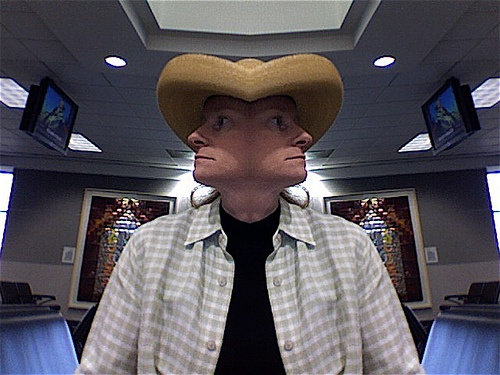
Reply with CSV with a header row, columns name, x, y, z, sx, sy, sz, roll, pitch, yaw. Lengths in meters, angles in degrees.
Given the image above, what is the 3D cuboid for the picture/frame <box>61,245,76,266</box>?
name,x,y,z,sx,sy,sz,roll,pitch,yaw
picture/frame,-3.052,1.127,6.546,0.225,0.271,0.070,0,-20,3

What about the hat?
name,x,y,z,sx,sy,sz,roll,pitch,yaw
hat,0.009,-0.479,1.902,0.637,0.202,0.540,10,-34,-1

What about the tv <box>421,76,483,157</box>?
name,x,y,z,sx,sy,sz,roll,pitch,yaw
tv,2.194,-0.821,4.306,0.236,0.714,0.603,1,-27,-7

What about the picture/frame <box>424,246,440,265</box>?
name,x,y,z,sx,sy,sz,roll,pitch,yaw
picture/frame,2.183,0.822,4.693,0.207,0.302,0.030,5,-29,6

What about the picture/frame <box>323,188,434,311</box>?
name,x,y,z,sx,sy,sz,roll,pitch,yaw
picture/frame,1.592,0.754,4.766,1.003,1.395,1.737,-6,-14,24
